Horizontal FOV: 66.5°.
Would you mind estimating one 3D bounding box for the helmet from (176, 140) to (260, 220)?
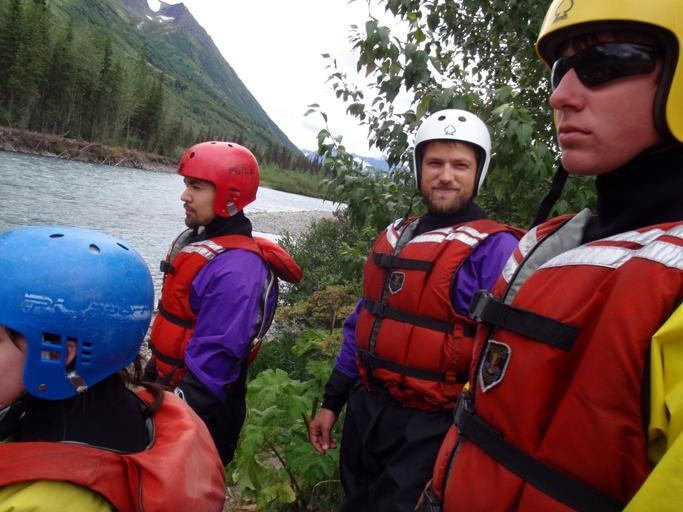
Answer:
[{"bbox_3d":[-0.903,-0.577,3.920,0.598,0.512,0.471,9,2,-25],"label":"helmet"}]
